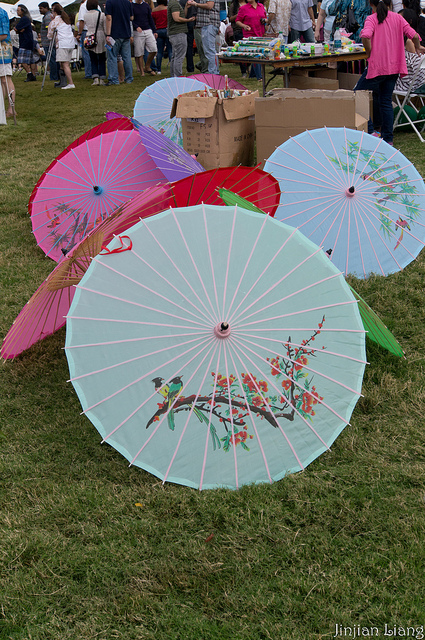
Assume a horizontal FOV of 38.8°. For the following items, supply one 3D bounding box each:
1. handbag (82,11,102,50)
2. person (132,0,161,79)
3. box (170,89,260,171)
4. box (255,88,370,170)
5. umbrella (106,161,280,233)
[{"bbox_3d":[-2.393,-5.694,11.871,0.412,0.644,0.248,-3,23,2],"label":"handbag"},{"bbox_3d":[-1.445,-5.891,12.787,0.524,1.476,1.607,-5,23,-3],"label":"person"},{"bbox_3d":[0.050,-1.598,5.175,0.771,0.620,0.514,-7,23,-9],"label":"box"},{"bbox_3d":[0.816,-1.556,5.271,0.899,0.515,0.873,1,13,8],"label":"box"},{"bbox_3d":[0.059,-0.725,3.305,0.642,0.219,0.592,-6,-17,-41],"label":"umbrella"}]
